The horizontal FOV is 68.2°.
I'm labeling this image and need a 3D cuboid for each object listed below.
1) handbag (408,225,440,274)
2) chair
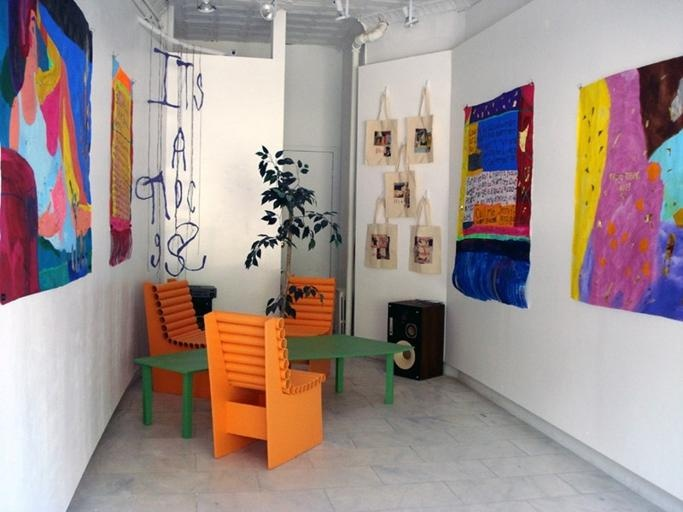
[{"bbox_3d":[0.978,-0.073,5.856,0.482,0.732,0.171,0,-4,33],"label":"handbag"},{"bbox_3d":[-0.940,0.830,4.776,1.913,1.091,2.602,1,6,-2],"label":"chair"}]
